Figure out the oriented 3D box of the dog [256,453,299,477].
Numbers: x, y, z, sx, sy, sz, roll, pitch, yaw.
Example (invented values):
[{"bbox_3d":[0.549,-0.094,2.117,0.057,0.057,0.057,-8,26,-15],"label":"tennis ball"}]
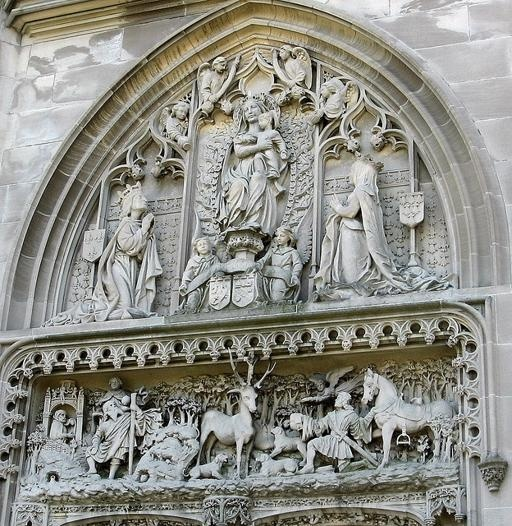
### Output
[{"bbox_3d":[0.178,2.000,17.190,0.418,0.190,0.166,-3,-19,22],"label":"dog"}]
